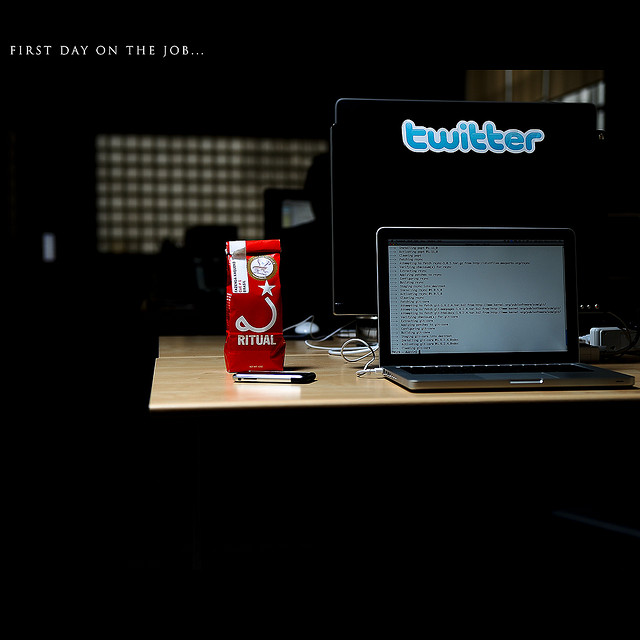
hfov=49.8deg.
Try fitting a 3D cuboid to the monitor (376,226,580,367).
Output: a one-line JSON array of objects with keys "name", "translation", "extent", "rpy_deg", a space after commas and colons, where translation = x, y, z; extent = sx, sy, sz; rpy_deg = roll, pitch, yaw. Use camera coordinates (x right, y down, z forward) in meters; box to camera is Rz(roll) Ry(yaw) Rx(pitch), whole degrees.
[{"name": "monitor", "translation": [0.334, -0.053, 1.394], "extent": [0.417, 0.360, 0.279], "rpy_deg": [-1, -3, 6]}]

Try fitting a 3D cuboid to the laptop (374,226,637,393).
[{"name": "laptop", "translation": [0.361, -0.056, 1.410], "extent": [0.415, 0.378, 0.340], "rpy_deg": [0, -2, -7]}]

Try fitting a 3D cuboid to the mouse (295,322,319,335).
[{"name": "mouse", "translation": [-0.040, 0.025, 2.119], "extent": [0.068, 0.039, 0.054], "rpy_deg": [0, 8, -1]}]

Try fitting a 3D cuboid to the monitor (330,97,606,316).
[{"name": "monitor", "translation": [0.332, -0.271, 1.659], "extent": [0.427, 0.471, 0.049], "rpy_deg": [0, -6, -1]}]
